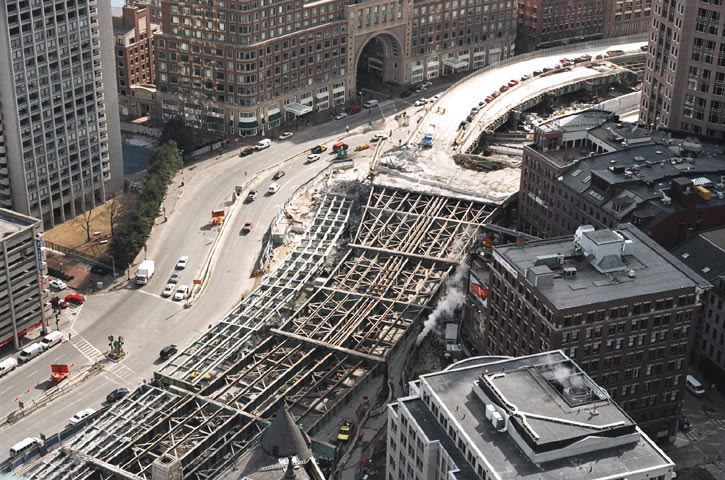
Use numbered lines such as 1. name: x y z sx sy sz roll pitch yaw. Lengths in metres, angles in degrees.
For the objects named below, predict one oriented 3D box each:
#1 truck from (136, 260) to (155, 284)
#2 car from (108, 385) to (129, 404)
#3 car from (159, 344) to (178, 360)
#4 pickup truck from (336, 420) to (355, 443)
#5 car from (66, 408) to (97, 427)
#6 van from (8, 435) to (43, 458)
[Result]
1. truck: -63.035 8.876 358.493 4.095 4.006 7.551 7 26 3
2. car: -63.644 40.877 321.947 6.350 2.163 2.865 -33 54 -22
3. car: -52.172 30.419 333.555 2.941 2.196 4.837 31 62 25
4. pickup truck: -3.643 48.200 307.598 3.016 2.229 5.386 9 34 18
5. car: -71.699 45.981 317.125 6.540 2.174 3.500 -28 40 -24
6. van: -83.836 52.184 309.730 8.043 3.695 4.333 -22 42 -23
